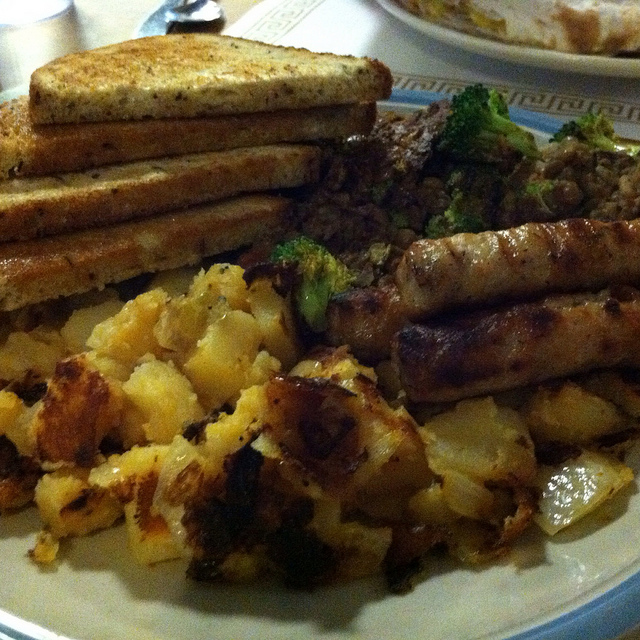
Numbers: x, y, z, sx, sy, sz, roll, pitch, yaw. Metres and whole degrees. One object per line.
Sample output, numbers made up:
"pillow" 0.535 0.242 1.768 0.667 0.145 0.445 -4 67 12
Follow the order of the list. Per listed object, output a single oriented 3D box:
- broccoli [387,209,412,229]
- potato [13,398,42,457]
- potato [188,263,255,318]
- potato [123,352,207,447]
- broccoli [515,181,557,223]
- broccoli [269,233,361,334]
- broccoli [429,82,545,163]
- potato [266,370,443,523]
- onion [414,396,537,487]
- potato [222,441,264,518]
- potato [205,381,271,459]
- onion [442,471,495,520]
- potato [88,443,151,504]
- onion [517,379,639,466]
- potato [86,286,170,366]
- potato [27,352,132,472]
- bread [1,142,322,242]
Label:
"broccoli" 0.255 -0.326 2.121 0.064 0.021 0.064 -20 75 -9
"potato" -0.741 0.282 1.670 0.112 0.036 0.121 17 90 49
"potato" -0.286 -0.069 1.893 0.056 0.204 0.145 41 68 -21
"potato" -0.395 0.202 1.682 0.183 0.082 0.213 -12 64 -20
"broccoli" 0.684 -0.374 2.104 0.163 0.046 0.120 -8 88 26
"broccoli" -0.021 -0.111 1.910 0.298 0.148 0.271 0 66 -12
"broccoli" 0.541 -0.618 2.195 0.242 0.161 0.381 0 24 -29
"potato" 0.039 0.333 1.679 0.469 0.119 0.289 42 60 0
"onion" 0.386 0.300 1.648 0.289 0.068 0.227 -5 51 4
"potato" -0.179 0.364 1.524 0.126 0.041 0.147 12 81 -17
"potato" -0.190 0.245 1.574 0.190 0.045 0.172 -30 33 -4
"onion" 0.372 0.423 1.611 0.034 0.112 0.109 -24 45 -11
"potato" -0.480 0.363 1.585 0.149 0.042 0.150 -41 41 -15
"onion" 0.643 0.261 1.759 0.261 0.067 0.220 -23 57 -4
"potato" -0.510 0.024 1.832 0.218 0.211 0.063 -37 89 -2
"potato" -0.622 0.237 1.667 0.245 0.083 0.281 24 84 21
"bread" -0.537 -0.455 2.210 0.649 0.140 0.526 -8 21 -26
